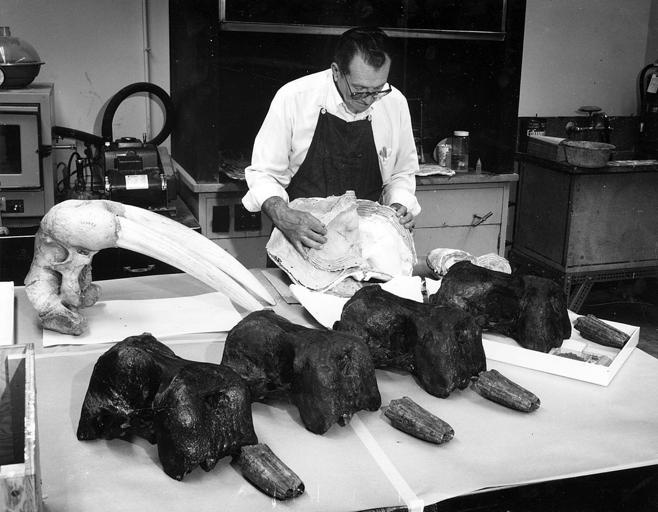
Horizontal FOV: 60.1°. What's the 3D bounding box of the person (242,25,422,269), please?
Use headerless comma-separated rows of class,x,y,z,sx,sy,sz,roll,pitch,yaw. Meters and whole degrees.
person,0.087,-0.524,2.542,0.838,0.887,0.645,-4,10,-26

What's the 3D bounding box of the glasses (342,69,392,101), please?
glasses,0.152,-0.693,2.336,0.199,0.110,0.112,0,9,1

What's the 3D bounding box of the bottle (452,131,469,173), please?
bottle,0.962,-0.760,4.163,0.170,0.288,0.181,0,12,0
